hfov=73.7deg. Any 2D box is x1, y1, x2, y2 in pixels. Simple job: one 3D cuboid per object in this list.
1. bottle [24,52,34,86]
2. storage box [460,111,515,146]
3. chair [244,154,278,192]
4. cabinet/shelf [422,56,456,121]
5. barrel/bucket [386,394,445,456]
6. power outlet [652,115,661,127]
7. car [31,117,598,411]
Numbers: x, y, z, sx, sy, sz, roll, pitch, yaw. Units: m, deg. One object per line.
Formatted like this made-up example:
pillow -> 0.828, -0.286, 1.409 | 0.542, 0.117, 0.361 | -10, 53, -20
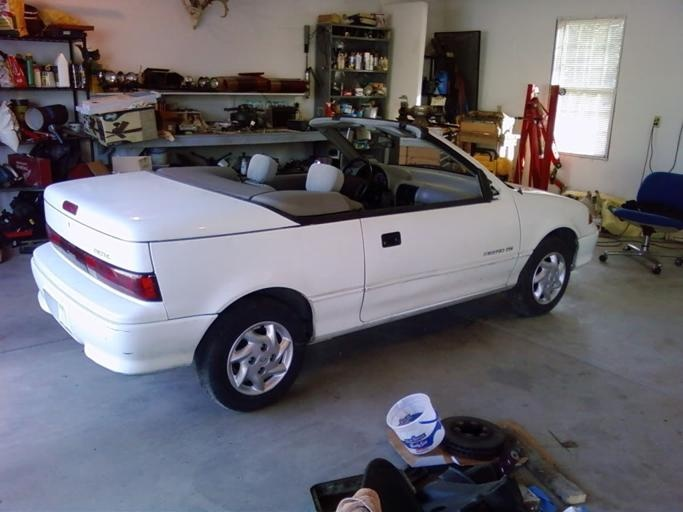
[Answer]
bottle -> -3.855, -2.273, 5.613 | 0.108, 0.368, 0.388 | -14, 24, -31
storage box -> 2.492, -2.205, 8.224 | 0.745, 0.446, 0.746 | 12, 5, 26
chair -> -0.616, -0.616, 3.404 | 0.239, 0.282, 0.252 | -1, 20, -44
cabinet/shelf -> 2.071, -3.430, 9.319 | 0.628, 1.307, 0.559 | 4, 20, 14
barrel/bucket -> 0.386, 0.889, 2.409 | 0.201, 0.223, 0.212 | -26, 17, 8
power outlet -> 4.962, -2.107, 7.182 | 0.038, 0.172, 0.114 | -11, 22, -26
car -> 0.184, 0.126, 3.872 | 4.325, 1.813, 1.995 | -14, 27, -31
